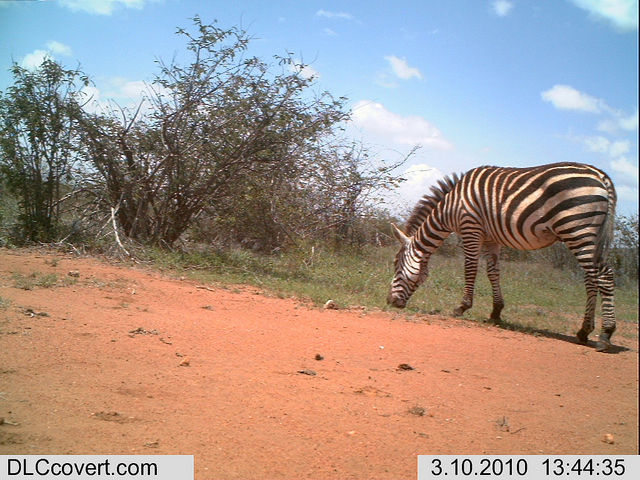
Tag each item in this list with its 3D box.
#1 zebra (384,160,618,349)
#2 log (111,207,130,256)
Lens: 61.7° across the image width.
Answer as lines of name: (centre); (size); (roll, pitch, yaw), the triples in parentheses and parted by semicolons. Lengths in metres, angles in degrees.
zebra: (2.821, 0.089, 8.487); (1.346, 2.091, 4.288); (0, 2, -34)
log: (-3.973, -0.169, 10.604); (0.167, 1.303, 0.159); (-46, -32, 16)
